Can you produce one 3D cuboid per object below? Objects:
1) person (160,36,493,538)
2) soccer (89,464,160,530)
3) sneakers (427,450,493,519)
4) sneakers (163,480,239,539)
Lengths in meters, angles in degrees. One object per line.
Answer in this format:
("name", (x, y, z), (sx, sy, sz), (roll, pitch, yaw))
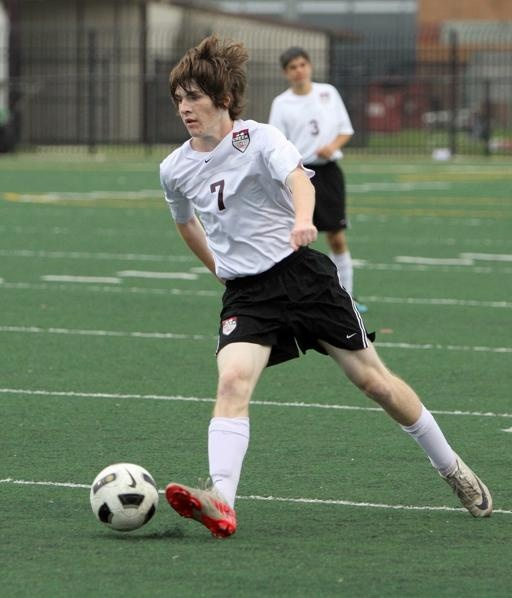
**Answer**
("person", (0.127, -0.064, 3.363), (1.228, 1.820, 1.016), (-3, 12, -20))
("soccer", (-0.497, 0.743, 3.193), (0.239, 0.232, 0.222), (-6, 13, -36))
("sneakers", (0.805, 0.720, 3.403), (0.298, 0.102, 0.138), (48, 25, 25))
("sneakers", (-0.192, 0.740, 3.030), (0.285, 0.103, 0.147), (34, 39, -5))
